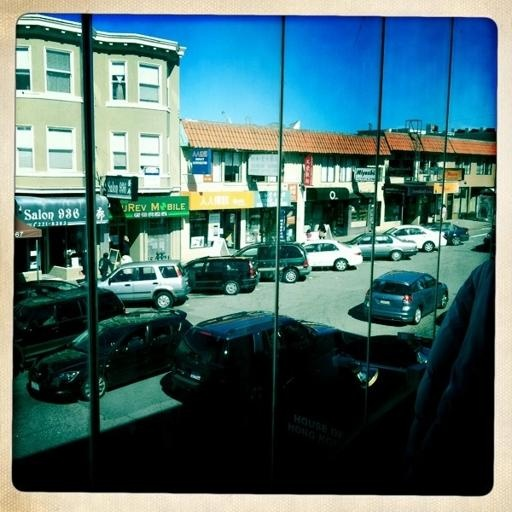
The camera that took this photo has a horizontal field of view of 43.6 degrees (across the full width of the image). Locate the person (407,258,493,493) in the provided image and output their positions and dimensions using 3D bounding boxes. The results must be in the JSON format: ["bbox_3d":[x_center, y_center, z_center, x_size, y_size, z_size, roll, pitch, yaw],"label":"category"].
[{"bbox_3d":[1.816,1.093,5.936,0.748,2.093,0.536,2,7,23],"label":"person"}]
